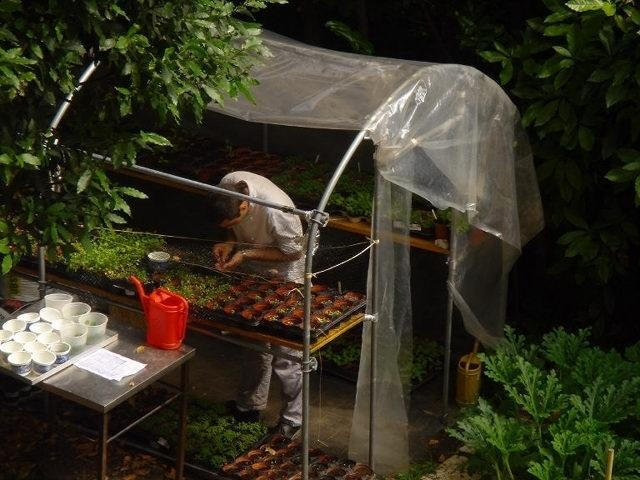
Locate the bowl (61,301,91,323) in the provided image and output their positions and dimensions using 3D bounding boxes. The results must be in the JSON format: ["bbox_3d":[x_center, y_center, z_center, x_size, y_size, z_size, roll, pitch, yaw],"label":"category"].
[{"bbox_3d":[-1.520,0.452,3.335,0.132,0.087,0.125,3,30,-2],"label":"bowl"}]

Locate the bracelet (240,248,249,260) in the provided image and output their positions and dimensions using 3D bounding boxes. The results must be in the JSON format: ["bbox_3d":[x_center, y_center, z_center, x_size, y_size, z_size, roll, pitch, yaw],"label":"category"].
[{"bbox_3d":[-0.513,0.087,3.615,0.061,0.047,0.016,3,-1,24],"label":"bracelet"}]

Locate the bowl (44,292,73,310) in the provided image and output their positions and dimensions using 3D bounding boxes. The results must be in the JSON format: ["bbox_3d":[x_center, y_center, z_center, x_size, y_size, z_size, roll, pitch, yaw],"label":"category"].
[{"bbox_3d":[-1.682,0.390,3.457,0.131,0.085,0.127,2,6,0],"label":"bowl"}]

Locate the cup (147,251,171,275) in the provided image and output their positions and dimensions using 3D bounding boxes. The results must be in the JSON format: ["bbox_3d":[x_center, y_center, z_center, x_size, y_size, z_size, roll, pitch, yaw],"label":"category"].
[{"bbox_3d":[-1.111,0.141,3.788,0.167,0.109,0.158,3,32,-2],"label":"cup"}]

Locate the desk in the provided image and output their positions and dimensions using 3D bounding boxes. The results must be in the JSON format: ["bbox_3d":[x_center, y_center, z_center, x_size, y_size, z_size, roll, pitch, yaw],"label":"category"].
[{"bbox_3d":[-1.229,1.143,3.397,0.867,1.189,1.013,17,27,16],"label":"desk"}]

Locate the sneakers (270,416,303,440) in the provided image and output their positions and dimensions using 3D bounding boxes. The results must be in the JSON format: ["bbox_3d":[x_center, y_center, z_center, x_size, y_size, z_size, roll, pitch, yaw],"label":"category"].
[{"bbox_3d":[-0.266,1.461,4.089,0.311,0.107,0.099,-16,40,-29],"label":"sneakers"}]

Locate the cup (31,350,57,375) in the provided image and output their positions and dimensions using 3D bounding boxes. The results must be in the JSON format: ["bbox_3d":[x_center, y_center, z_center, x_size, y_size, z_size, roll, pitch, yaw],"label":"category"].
[{"bbox_3d":[-1.524,0.675,2.939,0.140,0.101,0.088,15,26,15],"label":"cup"}]

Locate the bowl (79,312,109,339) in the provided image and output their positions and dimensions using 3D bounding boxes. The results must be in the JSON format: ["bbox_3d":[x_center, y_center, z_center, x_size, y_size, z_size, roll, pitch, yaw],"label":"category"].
[{"bbox_3d":[-1.360,0.503,3.209,0.163,0.104,0.150,3,27,-1],"label":"bowl"}]

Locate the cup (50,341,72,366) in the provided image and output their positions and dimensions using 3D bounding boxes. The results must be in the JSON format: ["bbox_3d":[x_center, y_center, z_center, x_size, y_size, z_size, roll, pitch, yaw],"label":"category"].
[{"bbox_3d":[-1.448,0.631,2.996,0.118,0.079,0.118,2,26,-1],"label":"cup"}]
